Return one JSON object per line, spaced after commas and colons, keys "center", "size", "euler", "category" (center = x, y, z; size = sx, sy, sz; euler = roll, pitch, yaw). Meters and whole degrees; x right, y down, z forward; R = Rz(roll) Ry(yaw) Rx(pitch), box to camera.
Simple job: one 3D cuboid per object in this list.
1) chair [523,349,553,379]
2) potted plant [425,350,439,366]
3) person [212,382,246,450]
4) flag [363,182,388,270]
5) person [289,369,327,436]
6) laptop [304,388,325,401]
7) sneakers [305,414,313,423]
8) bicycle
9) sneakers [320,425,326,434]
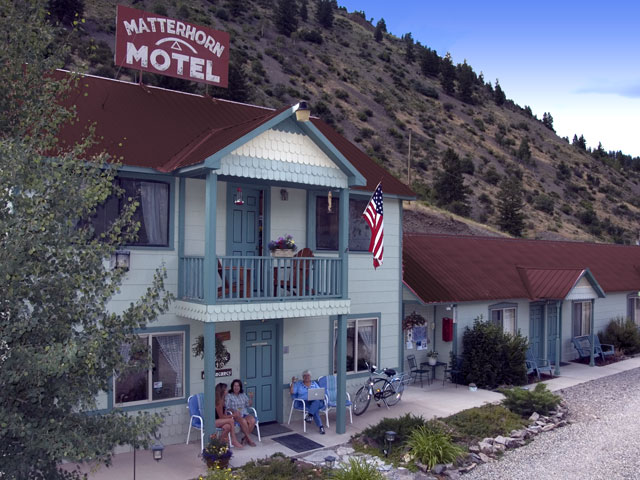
{"center": [7.959, 4.646, 29.354], "size": [0.893, 1.565, 0.922], "euler": [-3, -2, 43], "category": "chair"}
{"center": [3.902, 4.119, 27.941], "size": [0.335, 0.445, 0.371], "euler": [2, -4, -17], "category": "potted plant"}
{"center": [-2.524, 4.735, 21.547], "size": [0.835, 1.633, 0.981], "euler": [-3, 7, -34], "category": "person"}
{"center": [1.539, -0.442, 23.109], "size": [0.619, 2.437, 0.486], "euler": [-1, 6, -15], "category": "flag"}
{"center": [-0.281, 4.541, 22.953], "size": [0.742, 1.807, 1.173], "euler": [-3, -4, -24], "category": "person"}
{"center": [-0.125, 4.332, 22.524], "size": [0.404, 0.364, 0.319], "euler": [0, 5, -15], "category": "laptop"}
{"center": [-0.335, 5.208, 23.452], "size": [0.119, 0.313, 0.271], "euler": [2, -8, -23], "category": "sneakers"}
{"center": [1.817, 4.544, 24.908], "size": [1.909, 1.532, 1.107], "euler": [-6, 24, -30], "category": "bicycle"}
{"center": [0.068, 5.328, 22.726], "size": [0.173, 0.192, 0.412], "euler": [1, 7, -3], "category": "sneakers"}
